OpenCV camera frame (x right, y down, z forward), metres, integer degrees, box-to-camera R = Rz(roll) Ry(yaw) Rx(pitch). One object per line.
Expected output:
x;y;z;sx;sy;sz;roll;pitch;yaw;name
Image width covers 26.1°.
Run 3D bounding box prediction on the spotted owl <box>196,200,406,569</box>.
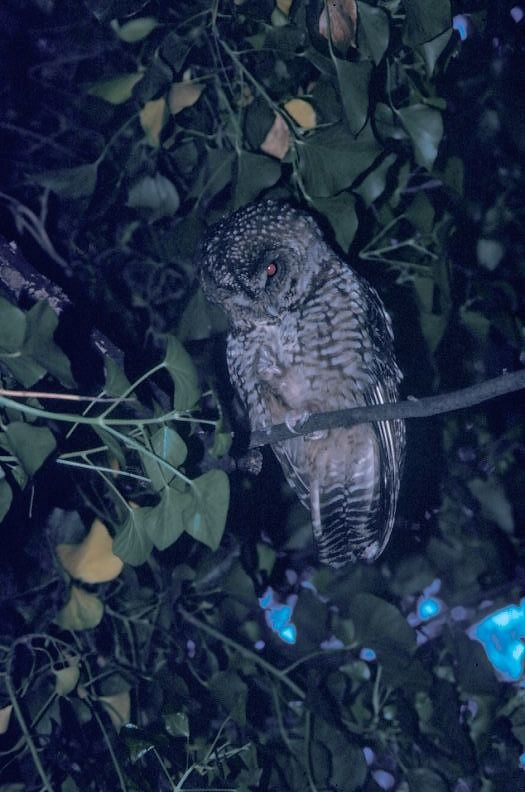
0.052;-0.005;1.055;0.151;0.139;0.332;-18;78;-4;spotted owl
